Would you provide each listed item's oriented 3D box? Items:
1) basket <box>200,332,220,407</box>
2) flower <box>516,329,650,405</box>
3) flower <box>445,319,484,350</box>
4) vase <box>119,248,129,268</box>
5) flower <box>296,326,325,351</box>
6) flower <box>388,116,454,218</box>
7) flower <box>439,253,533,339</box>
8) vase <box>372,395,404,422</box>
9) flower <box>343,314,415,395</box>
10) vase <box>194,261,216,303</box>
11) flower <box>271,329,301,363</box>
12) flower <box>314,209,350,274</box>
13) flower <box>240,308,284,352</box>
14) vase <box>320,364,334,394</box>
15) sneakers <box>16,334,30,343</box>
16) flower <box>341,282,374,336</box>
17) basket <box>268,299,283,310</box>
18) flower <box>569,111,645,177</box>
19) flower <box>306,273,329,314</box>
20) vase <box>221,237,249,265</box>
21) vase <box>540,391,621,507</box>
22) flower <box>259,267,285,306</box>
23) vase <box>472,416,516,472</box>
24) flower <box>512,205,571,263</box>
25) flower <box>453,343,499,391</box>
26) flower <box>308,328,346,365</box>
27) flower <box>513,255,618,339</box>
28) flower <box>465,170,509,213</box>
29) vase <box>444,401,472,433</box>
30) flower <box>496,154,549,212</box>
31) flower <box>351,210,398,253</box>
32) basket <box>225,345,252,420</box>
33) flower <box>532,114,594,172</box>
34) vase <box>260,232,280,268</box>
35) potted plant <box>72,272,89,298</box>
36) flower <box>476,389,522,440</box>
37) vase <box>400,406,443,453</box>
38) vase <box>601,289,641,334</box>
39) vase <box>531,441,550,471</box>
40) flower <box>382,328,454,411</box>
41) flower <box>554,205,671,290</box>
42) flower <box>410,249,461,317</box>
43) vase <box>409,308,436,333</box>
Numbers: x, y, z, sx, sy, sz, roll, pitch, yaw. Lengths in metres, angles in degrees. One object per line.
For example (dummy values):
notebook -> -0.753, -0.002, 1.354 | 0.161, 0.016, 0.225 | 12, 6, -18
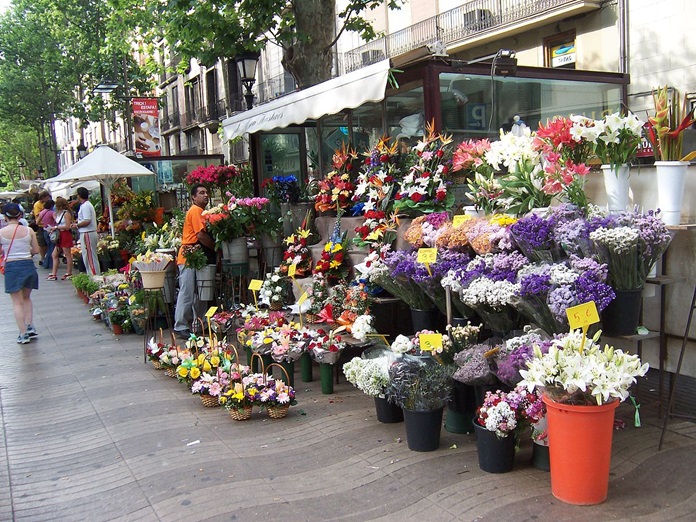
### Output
basket -> -1.401, 1.088, 6.138 | 0.228, 0.468, 0.747 | -6, 13, -12
flower -> 1.500, 0.701, 3.937 | 0.556, 0.369, 0.594 | -8, 20, 13
flower -> 0.949, 0.594, 5.117 | 0.248, 0.302, 0.265 | -5, 7, -27
vase -> -4.601, -0.054, 12.567 | 0.293, 0.376, 0.304 | 0, 1, -3
flower -> -0.396, 0.755, 6.147 | 0.238, 0.176, 0.234 | -1, 2, -44
flower -> 0.790, -0.996, 6.592 | 0.614, 0.950, 0.825 | -1, 13, 10
flower -> 1.111, 0.242, 4.864 | 0.585, 0.582, 0.643 | -5, 11, -14
vase -> 0.331, 1.255, 5.215 | 0.225, 0.182, 0.240 | -4, -5, 26
flower -> 0.196, 0.872, 5.309 | 0.552, 0.342, 0.637 | -11, 42, -14
vase -> -2.011, 0.280, 8.117 | 0.324, 0.483, 0.354 | -6, -6, 34
flower -> -0.616, 0.823, 6.071 | 0.282, 0.309, 0.302 | 4, -2, -10
flower -> -0.199, -0.179, 7.025 | 0.373, 0.592, 0.708 | -4, 13, 0
flower -> -0.990, 0.728, 6.633 | 0.429, 0.312, 0.428 | -1, 0, -34
vase -> -0.212, 1.144, 6.014 | 0.106, 0.289, 0.086 | -2, 13, 7
sneakers -> -4.506, 1.055, 8.461 | 0.082, 0.106, 0.220 | -7, 12, -37
flower -> 0.089, 0.456, 6.060 | 0.245, 0.459, 0.309 | -2, -7, 8
basket -> -0.858, 0.514, 7.230 | 0.103, 0.094, 0.107 | 1, -2, -3
flower -> 2.144, -0.912, 4.997 | 0.484, 0.370, 0.505 | 4, -3, 25
flower -> -0.323, 0.343, 6.616 | 0.249, 0.376, 0.155 | -1, -14, 15
vase -> -1.475, -0.139, 7.973 | 0.315, 0.373, 0.327 | 0, 4, -3
vase -> 1.591, 1.245, 4.157 | 0.498, 0.682, 0.482 | 4, 1, 1
flower -> -0.940, 0.302, 7.214 | 0.359, 0.445, 0.369 | 1, 2, 42
vase -> 1.085, 1.333, 4.502 | 0.299, 0.268, 0.333 | -1, -3, 9
flower -> 1.493, -0.286, 4.845 | 0.379, 0.435, 0.390 | -31, 27, -26
flower -> 0.971, 0.787, 4.646 | 0.321, 0.162, 0.331 | 5, 35, 39
flower -> -0.182, 0.799, 6.062 | 0.321, 0.279, 0.331 | 10, 7, 39
flower -> 1.549, 0.204, 4.580 | 0.632, 0.656, 0.592 | -8, 3, -14
flower -> 1.280, -0.643, 5.623 | 0.346, 0.255, 0.346 | 4, 0, 20
vase -> 0.870, 1.285, 5.031 | 0.219, 0.257, 0.224 | -5, 8, -22
flower -> 1.489, -0.665, 5.388 | 0.421, 0.398, 0.435 | 0, 0, -9
flower -> 0.287, -0.353, 6.551 | 0.418, 0.391, 0.429 | -3, 10, -12
basket -> -1.022, 1.217, 5.643 | 0.245, 0.406, 0.418 | -6, 13, -12
flower -> 1.816, -1.036, 5.213 | 0.428, 0.465, 0.408 | 3, -5, -26
vase -> -1.049, -0.145, 8.313 | 0.377, 0.448, 0.392 | 1, 3, 0
potted plant -> -5.109, 0.468, 11.654 | 0.319, 0.442, 0.406 | -2, 8, -25
flower -> 1.074, 1.031, 4.401 | 0.262, 0.330, 0.311 | 10, 28, 37
vase -> 0.578, 1.272, 4.760 | 0.319, 0.260, 0.309 | -5, -5, 38
vase -> 2.057, 0.370, 4.594 | 0.298, 0.317, 0.310 | 0, -3, -2
vase -> 1.395, 1.401, 4.462 | 0.160, 0.184, 0.161 | -2, -4, 44
flower -> 0.554, 0.843, 4.819 | 0.474, 0.340, 0.584 | -11, 44, 20
flower -> 2.019, 0.015, 4.571 | 0.679, 0.510, 0.620 | -4, -6, 44
flower -> 0.740, 0.165, 5.355 | 0.468, 0.607, 0.501 | -3, 1, -13
vase -> 0.683, 0.546, 5.717 | 0.206, 0.182, 0.187 | -1, 4, -24
